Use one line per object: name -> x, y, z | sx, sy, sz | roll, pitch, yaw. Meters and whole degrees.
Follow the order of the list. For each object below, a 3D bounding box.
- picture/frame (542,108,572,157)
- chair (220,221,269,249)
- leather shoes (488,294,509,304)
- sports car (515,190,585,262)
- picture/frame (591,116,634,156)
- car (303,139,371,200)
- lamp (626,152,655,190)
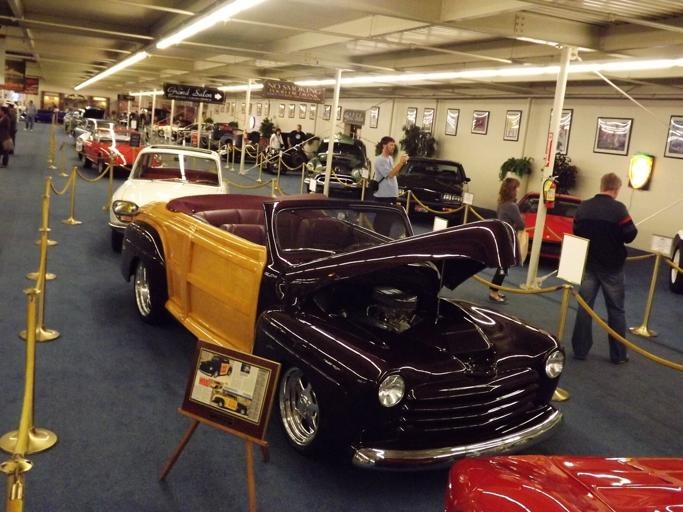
picture/frame -> 8.001, -4.463, 16.908 | 0.266, 1.592, 0.697 | 5, 13, -7
chair -> -1.088, -0.279, 5.499 | 0.358, 0.292, 0.360 | 7, 25, -31
leather shoes -> 2.677, 0.728, 8.067 | 0.172, 0.113, 0.312 | -5, 9, -26
sports car -> 5.206, -0.772, 12.179 | 1.506, 1.269, 3.713 | 1, 3, 9
picture/frame -> 8.890, -3.909, 15.291 | 0.046, 1.339, 1.318 | 3, 13, -29
car -> 0.012, -3.300, 17.618 | 1.644, 1.404, 2.964 | 3, 13, 5
lamp -> 9.149, -2.552, 14.316 | 0.805, 1.151, 0.301 | 16, 17, 37
